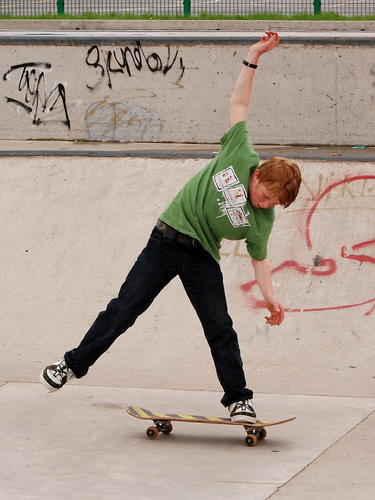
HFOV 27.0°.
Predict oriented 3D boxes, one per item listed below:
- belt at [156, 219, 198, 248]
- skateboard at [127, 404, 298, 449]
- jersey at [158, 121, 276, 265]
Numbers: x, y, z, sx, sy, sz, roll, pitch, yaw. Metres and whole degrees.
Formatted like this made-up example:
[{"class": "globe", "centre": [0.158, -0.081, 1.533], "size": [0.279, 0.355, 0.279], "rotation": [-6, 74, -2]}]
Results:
[{"class": "belt", "centre": [-0.050, -0.074, 3.493], "size": [0.136, 0.028, 0.129], "rotation": [25, 1, 10]}, {"class": "skateboard", "centre": [0.192, 0.787, 3.584], "size": [0.909, 0.130, 0.242], "rotation": [4, 0, 13]}, {"class": "jersey", "centre": [0.148, -0.265, 3.539], "size": [0.520, 0.511, 0.264], "rotation": [6, -2, -3]}]
